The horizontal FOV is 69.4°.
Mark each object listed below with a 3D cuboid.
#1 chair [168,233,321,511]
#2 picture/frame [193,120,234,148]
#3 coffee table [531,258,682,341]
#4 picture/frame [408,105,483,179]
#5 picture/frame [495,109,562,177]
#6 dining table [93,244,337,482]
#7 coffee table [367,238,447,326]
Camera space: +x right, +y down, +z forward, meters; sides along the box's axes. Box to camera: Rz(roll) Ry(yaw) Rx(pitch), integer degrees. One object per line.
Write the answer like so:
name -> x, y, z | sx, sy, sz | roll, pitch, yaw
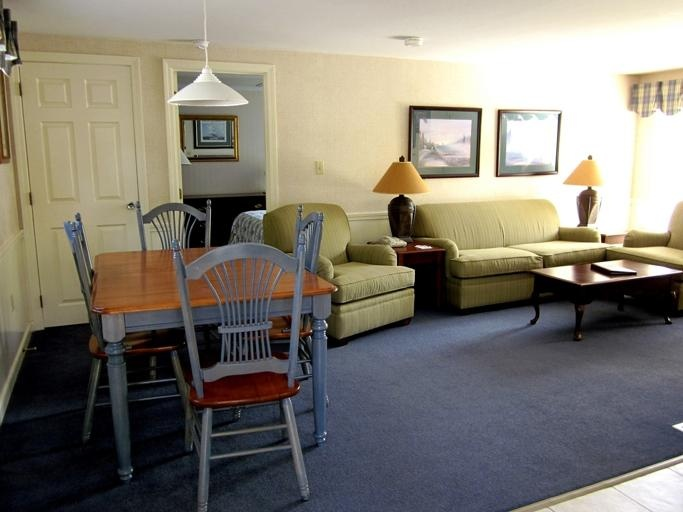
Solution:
chair -> -0.498, 0.522, 2.617 | 0.710, 1.327, 0.791 | -8, 12, -19
picture/frame -> -2.001, -1.881, 7.587 | 0.468, 0.358, 0.036 | -2, 7, -21
coffee table -> 2.417, 0.380, 4.600 | 1.366, 0.564, 0.598 | -7, 12, -18
picture/frame -> 1.152, -1.342, 5.702 | 1.010, 0.809, 0.070 | -2, 7, -23
picture/frame -> 2.252, -1.415, 6.084 | 0.860, 0.696, 0.060 | -6, 12, -23
dining table -> -0.750, 0.769, 3.009 | 1.265, 0.930, 1.545 | -4, 10, -22
coffee table -> 0.602, 0.239, 5.155 | 0.759, 0.697, 0.675 | -7, 12, -28
